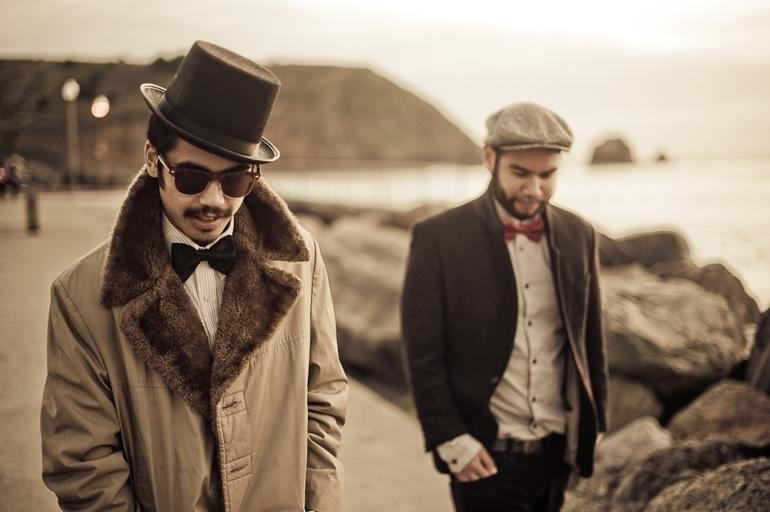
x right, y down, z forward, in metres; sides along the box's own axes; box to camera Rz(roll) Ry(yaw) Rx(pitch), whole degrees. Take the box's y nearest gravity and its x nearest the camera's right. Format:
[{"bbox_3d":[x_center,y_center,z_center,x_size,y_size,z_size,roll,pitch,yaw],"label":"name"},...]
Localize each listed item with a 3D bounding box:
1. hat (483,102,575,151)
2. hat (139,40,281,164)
[{"bbox_3d":[0.911,-0.820,6.185,0.588,0.308,0.455,8,12,42],"label":"hat"},{"bbox_3d":[-0.869,-0.787,5.199,0.634,0.351,0.677,41,20,24],"label":"hat"}]
